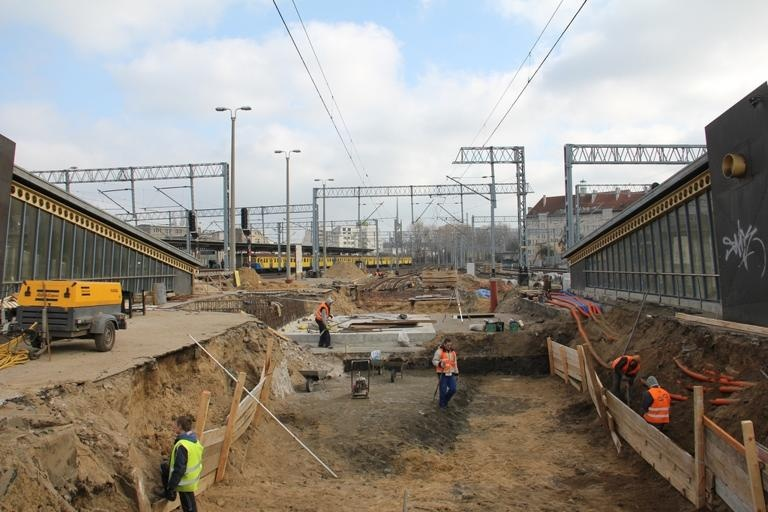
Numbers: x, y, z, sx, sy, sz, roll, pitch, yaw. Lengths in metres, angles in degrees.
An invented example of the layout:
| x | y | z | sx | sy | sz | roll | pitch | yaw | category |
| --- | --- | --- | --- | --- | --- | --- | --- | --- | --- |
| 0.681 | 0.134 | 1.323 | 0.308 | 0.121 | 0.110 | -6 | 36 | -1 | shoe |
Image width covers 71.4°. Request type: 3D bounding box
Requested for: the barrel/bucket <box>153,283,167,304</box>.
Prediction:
| x | y | z | sx | sy | sz | roll | pitch | yaw | category |
| --- | --- | --- | --- | --- | --- | --- | --- | --- | --- |
| -9.873 | 1.672 | 23.840 | 0.517 | 0.783 | 1.251 | 1 | 10 | -27 | barrel/bucket |

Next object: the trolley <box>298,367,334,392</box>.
| x | y | z | sx | sy | sz | roll | pitch | yaw | category |
| --- | --- | --- | --- | --- | --- | --- | --- | --- | --- |
| -2.131 | 3.998 | 17.359 | 0.902 | 0.781 | 0.729 | -1 | 12 | -39 | trolley |
